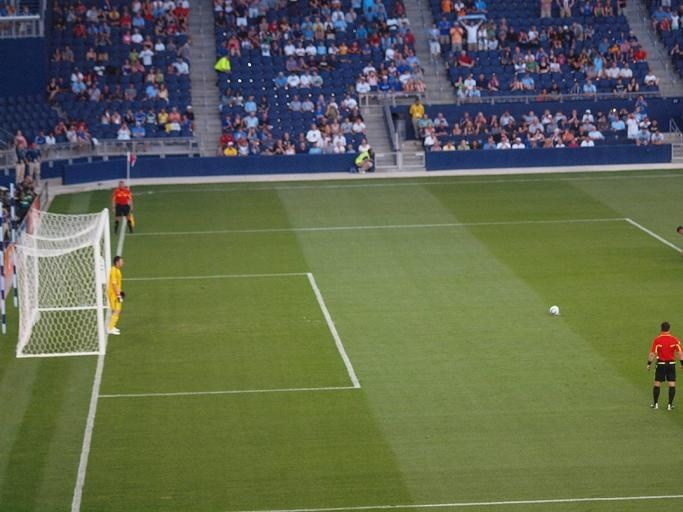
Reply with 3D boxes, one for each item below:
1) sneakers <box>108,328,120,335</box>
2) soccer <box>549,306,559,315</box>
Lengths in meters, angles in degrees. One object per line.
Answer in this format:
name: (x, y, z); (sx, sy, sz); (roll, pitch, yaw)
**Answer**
sneakers: (-6.046, 2.000, 34.855); (0.206, 0.075, 0.216); (-1, 16, -1)
soccer: (5.929, 1.496, 36.318); (0.211, 0.102, 0.260); (14, 29, 34)
